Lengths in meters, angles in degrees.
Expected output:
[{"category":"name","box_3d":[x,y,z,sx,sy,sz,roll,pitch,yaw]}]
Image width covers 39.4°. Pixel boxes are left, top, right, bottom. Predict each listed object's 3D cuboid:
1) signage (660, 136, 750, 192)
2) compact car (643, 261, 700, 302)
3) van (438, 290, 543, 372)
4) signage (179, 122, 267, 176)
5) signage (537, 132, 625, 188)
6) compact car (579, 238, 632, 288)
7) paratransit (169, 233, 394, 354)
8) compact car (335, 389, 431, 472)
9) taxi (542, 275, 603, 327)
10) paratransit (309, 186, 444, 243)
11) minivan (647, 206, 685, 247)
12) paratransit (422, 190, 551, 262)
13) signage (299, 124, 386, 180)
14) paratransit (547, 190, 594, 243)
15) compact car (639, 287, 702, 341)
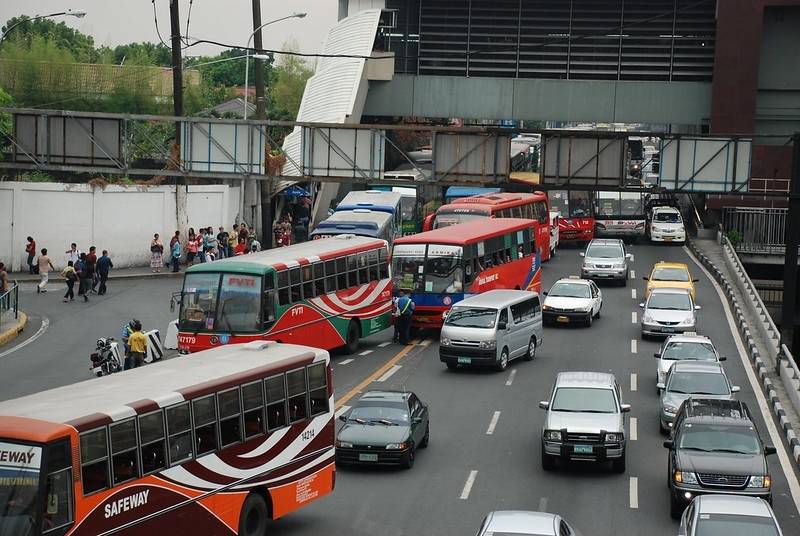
[{"category":"signage","box_3d":[13.240,-4.832,48.860,3.681,2.548,2.018,2,27,11]},{"category":"compact car","box_3d":[13.384,0.848,55.351,2.434,2.114,4.609,0,1,13]},{"category":"van","box_3d":[3.768,2.511,45.512,2.375,2.100,4.179,0,2,26]},{"category":"signage","box_3d":[-7.783,-5.324,51.160,2.803,1.747,2.829,1,1,-1]},{"category":"signage","box_3d":[7.989,-4.909,49.328,2.759,1.815,2.732,0,2,8]},{"category":"compact car","box_3d":[10.674,-0.339,60.600,3.013,2.455,5.820,1,4,2]},{"category":"paratransit","box_3d":[-4.716,1.073,45.744,3.479,4.287,11.582,4,9,32]},{"category":"compact car","box_3d":[-0.610,5.250,37.602,2.593,1.860,4.588,1,8,8]},{"category":"taxi","box_3d":[7.795,1.663,51.486,2.195,1.822,2.594,3,13,26]},{"category":"paratransit","box_3d":[-1.490,-3.093,61.355,2.633,2.552,9.408,1,8,7]},{"category":"minivan","box_3d":[17.027,-3.146,72.098,2.472,2.264,4.654,1,18,8]},{"category":"paratransit","box_3d":[5.476,-3.175,61.664,3.080,3.612,8.237,2,5,26]},{"category":"signage","box_3d":[-3.176,-5.323,50.495,4.115,2.471,2.215,-2,7,-35]},{"category":"paratransit","box_3d":[10.539,-3.172,69.226,2.799,3.473,2.248,-2,12,2]},{"category":"compact car","box_3d":[11.676,2.063,48.761,2.253,1.742,2.495,1,13,19]}]
